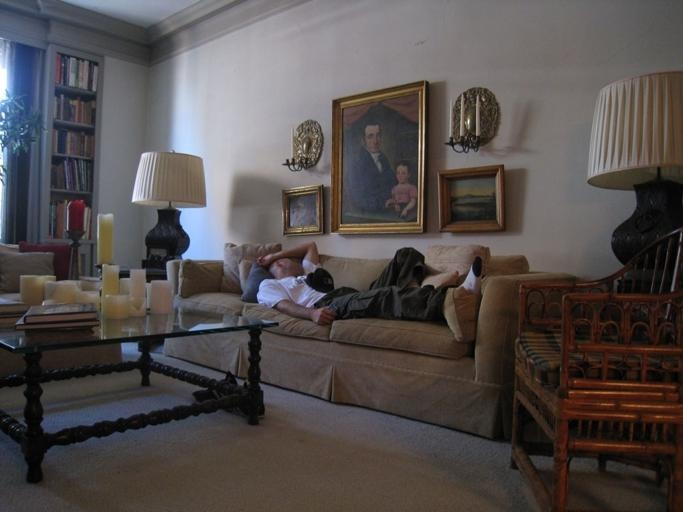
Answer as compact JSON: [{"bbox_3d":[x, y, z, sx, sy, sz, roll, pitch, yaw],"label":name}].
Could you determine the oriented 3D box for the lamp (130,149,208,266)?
[{"bbox_3d":[-1.667,-0.433,5.053,0.570,1.146,0.615,7,12,29],"label":"lamp"}]

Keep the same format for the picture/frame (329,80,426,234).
[{"bbox_3d":[0.327,-0.821,4.314,1.246,1.609,0.114,1,1,37],"label":"picture/frame"}]

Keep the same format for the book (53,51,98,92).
[{"bbox_3d":[-2.945,-2.010,5.839,0.279,0.512,0.515,12,8,35],"label":"book"}]

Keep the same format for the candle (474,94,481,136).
[{"bbox_3d":[0.994,-1.027,3.777,0.050,0.315,0.216,4,11,14],"label":"candle"}]

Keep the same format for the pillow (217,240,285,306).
[{"bbox_3d":[-0.843,0.138,4.349,0.463,0.498,0.184,5,0,14],"label":"pillow"}]

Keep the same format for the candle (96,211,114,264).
[{"bbox_3d":[-1.341,-0.091,2.935,0.083,0.290,0.187,-4,12,-26],"label":"candle"}]

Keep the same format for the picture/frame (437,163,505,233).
[{"bbox_3d":[0.987,-0.434,3.889,0.510,0.531,0.054,1,0,37],"label":"picture/frame"}]

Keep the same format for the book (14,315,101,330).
[{"bbox_3d":[-1.390,0.339,2.537,0.351,0.070,0.051,-4,12,-24],"label":"book"}]

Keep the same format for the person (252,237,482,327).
[{"bbox_3d":[0.050,0.175,3.621,1.362,0.581,0.638,-12,-15,36],"label":"person"}]

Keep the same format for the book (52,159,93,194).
[{"bbox_3d":[-2.993,-0.881,5.769,0.349,0.358,0.356,5,6,13],"label":"book"}]

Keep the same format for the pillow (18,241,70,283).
[{"bbox_3d":[-2.371,0.061,4.124,0.286,0.370,0.137,-3,-5,0],"label":"pillow"}]

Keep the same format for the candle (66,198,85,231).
[{"bbox_3d":[-1.629,-0.248,3.169,0.100,0.181,0.283,-5,12,-27],"label":"candle"}]
